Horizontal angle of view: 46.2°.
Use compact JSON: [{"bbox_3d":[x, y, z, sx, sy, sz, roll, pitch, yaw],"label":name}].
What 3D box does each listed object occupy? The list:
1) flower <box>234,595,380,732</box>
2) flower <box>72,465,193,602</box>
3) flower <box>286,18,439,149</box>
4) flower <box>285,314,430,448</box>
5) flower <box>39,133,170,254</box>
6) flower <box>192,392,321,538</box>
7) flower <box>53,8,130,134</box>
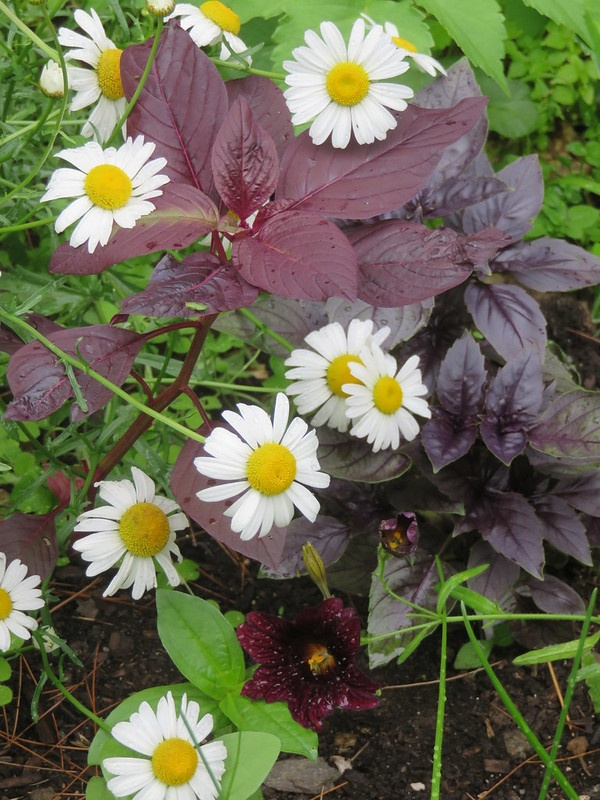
[{"bbox_3d":[0.009,0.427,1.134,0.207,0.132,0.190,-4,46,-10],"label":"flower"},{"bbox_3d":[-0.268,0.219,1.146,0.169,0.193,0.208,-3,47,-9],"label":"flower"},{"bbox_3d":[0.063,-0.443,0.990,0.172,0.129,0.149,3,46,-4],"label":"flower"},{"bbox_3d":[0.092,-0.021,1.085,0.231,0.058,0.204,6,82,-7],"label":"flower"},{"bbox_3d":[-0.252,-0.272,0.907,0.152,0.097,0.145,-28,55,-30],"label":"flower"},{"bbox_3d":[-0.053,0.089,0.923,0.173,0.131,0.151,-14,50,-20],"label":"flower"},{"bbox_3d":[-0.322,-0.503,1.107,0.090,0.177,0.329,-8,47,-13],"label":"flower"}]
